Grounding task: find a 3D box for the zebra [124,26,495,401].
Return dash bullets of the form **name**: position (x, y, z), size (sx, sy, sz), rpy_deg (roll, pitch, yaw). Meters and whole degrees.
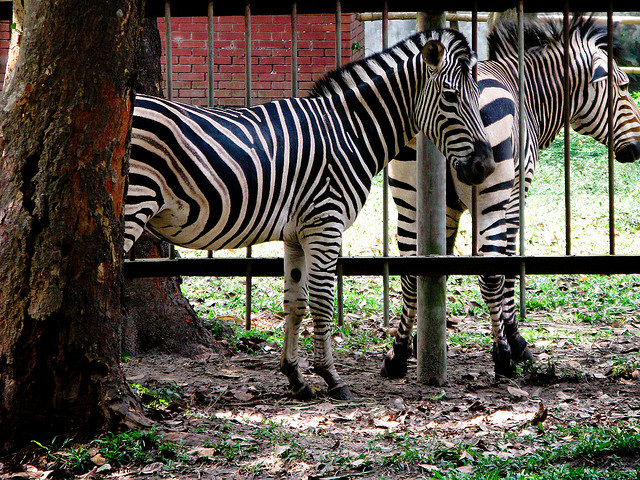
- **zebra**: position (-0.308, -0.162, 5.670), size (2.957, 2.386, 0.842), rpy_deg (-2, 6, -18)
